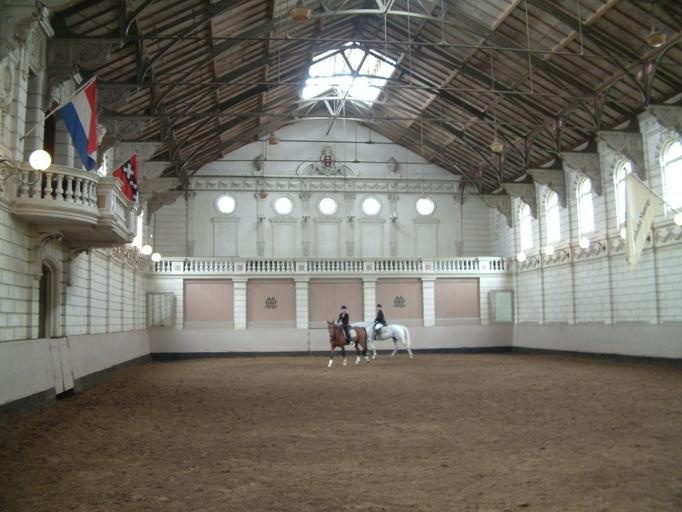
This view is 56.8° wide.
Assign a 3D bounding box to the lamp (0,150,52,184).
[{"bbox_3d":[-7.318,-2.112,14.919,1.503,0.783,0.989,1,3,24],"label":"lamp"}]

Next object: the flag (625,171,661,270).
[{"bbox_3d":[7.821,-0.913,16.463,0.312,2.486,1.136,-1,3,-17],"label":"flag"}]

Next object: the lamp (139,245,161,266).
[{"bbox_3d":[-9.048,-0.115,29.584,0.584,0.635,1.488,23,-1,19],"label":"lamp"}]

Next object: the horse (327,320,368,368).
[{"bbox_3d":[0.289,3.405,25.091,0.571,1.707,2.486,6,4,45],"label":"horse"}]

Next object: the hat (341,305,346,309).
[{"bbox_3d":[0.133,2.148,26.523,0.290,0.112,0.349,0,-3,-1],"label":"hat"}]

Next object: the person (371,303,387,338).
[{"bbox_3d":[1.702,2.832,27.670,0.568,1.475,1.298,0,3,6],"label":"person"}]

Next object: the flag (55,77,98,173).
[{"bbox_3d":[-6.386,-3.387,15.463,0.989,3.000,0.259,12,-30,-43],"label":"flag"}]
